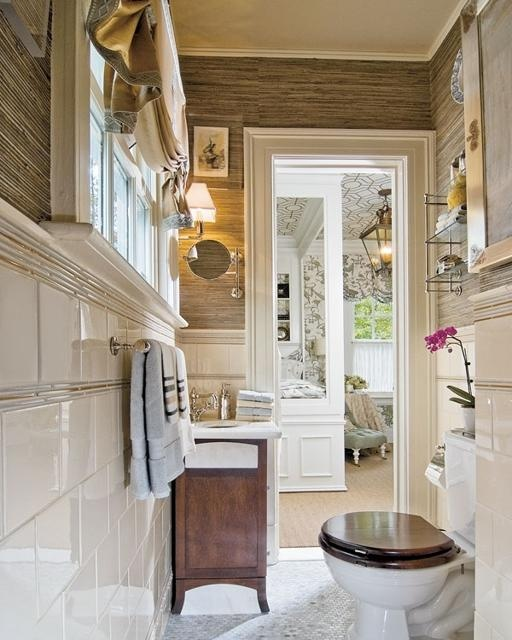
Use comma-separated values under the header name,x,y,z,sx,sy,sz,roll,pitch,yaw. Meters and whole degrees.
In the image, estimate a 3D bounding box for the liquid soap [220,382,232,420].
name,x,y,z,sx,sy,sz,roll,pitch,yaw
liquid soap,-0.159,0.419,2.672,0.062,0.172,0.148,-2,-5,-4

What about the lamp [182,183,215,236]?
name,x,y,z,sx,sy,sz,roll,pitch,yaw
lamp,-0.280,-0.594,2.698,0.153,0.281,0.199,-2,-5,-4

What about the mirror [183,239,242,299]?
name,x,y,z,sx,sy,sz,roll,pitch,yaw
mirror,-0.242,-0.266,2.748,0.305,0.313,0.057,-1,1,-2

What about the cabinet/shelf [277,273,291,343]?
name,x,y,z,sx,sy,sz,roll,pitch,yaw
cabinet/shelf,0.236,-0.107,4.394,0.108,0.567,0.160,-2,-5,0

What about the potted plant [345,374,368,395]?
name,x,y,z,sx,sy,sz,roll,pitch,yaw
potted plant,1.190,0.776,6.251,0.225,0.161,0.228,1,-7,4
